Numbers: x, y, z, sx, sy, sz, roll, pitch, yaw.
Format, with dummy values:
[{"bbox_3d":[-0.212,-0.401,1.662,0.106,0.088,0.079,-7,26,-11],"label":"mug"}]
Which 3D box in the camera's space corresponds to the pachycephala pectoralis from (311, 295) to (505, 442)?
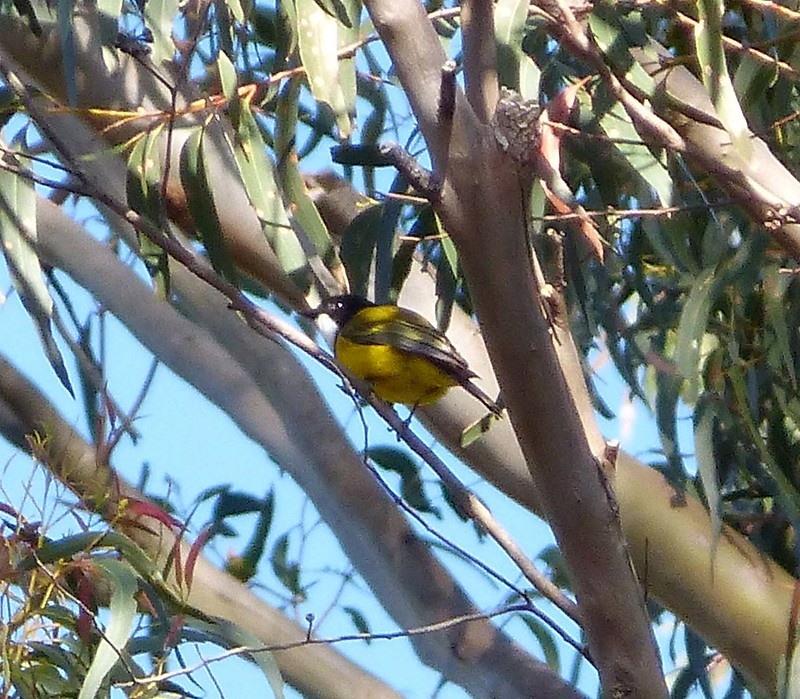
[{"bbox_3d":[-0.003,0.036,3.247,0.383,0.307,0.208,0,-33,6],"label":"pachycephala pectoralis"}]
